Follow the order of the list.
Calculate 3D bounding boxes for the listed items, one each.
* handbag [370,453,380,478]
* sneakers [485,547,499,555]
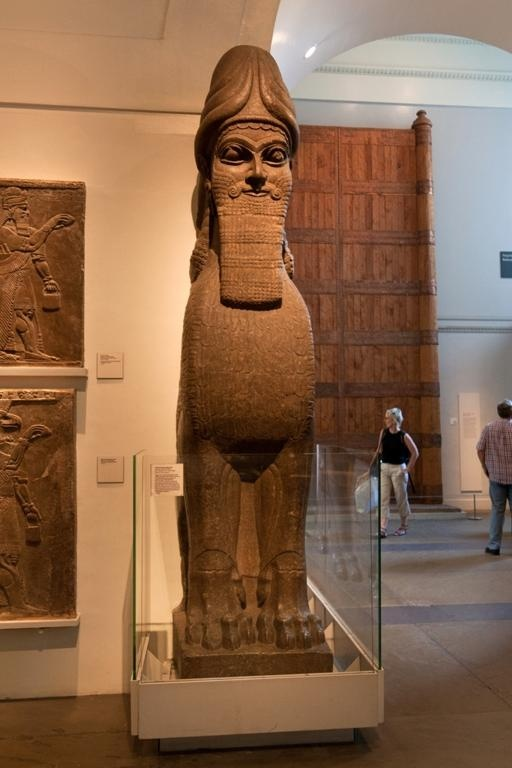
[{"bbox_3d":[0.422,0.290,2.596,0.029,0.077,0.057,0,-2,-5],"label":"handbag"},{"bbox_3d":[2.034,1.444,6.310,0.117,0.050,0.154,0,-2,18],"label":"sneakers"}]
